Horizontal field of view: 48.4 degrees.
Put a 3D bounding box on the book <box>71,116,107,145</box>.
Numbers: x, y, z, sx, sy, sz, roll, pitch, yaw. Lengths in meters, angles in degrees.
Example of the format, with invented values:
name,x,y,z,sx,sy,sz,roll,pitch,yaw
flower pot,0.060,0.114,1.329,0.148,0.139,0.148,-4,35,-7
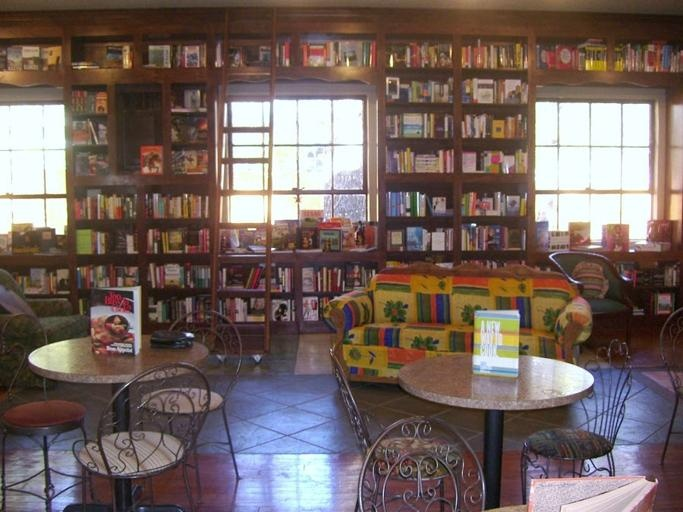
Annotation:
name,x,y,z,sx,sy,sz,roll,pitch,yaw
book,-3.056,-1.500,9.222,0.501,0.347,0.275,1,-3,-4

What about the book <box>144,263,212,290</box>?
name,x,y,z,sx,sy,sz,roll,pitch,yaw
book,-1.980,0.236,9.329,0.772,0.305,0.155,-1,4,5

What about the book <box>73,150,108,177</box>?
name,x,y,z,sx,sy,sz,roll,pitch,yaw
book,-3.054,-1.131,9.270,0.478,0.352,0.266,3,15,3

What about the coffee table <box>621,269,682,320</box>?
name,x,y,z,sx,sy,sz,roll,pitch,yaw
coffee table,3.810,0.471,9.258,0.582,0.589,0.210,-1,-3,-4

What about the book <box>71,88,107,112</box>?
name,x,y,z,sx,sy,sz,roll,pitch,yaw
book,-3.018,-1.865,9.180,0.450,0.273,0.128,0,4,12

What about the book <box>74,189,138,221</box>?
name,x,y,z,sx,sy,sz,roll,pitch,yaw
book,-2.896,-0.640,9.359,0.717,0.363,0.289,-2,4,-14

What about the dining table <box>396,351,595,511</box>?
name,x,y,z,sx,sy,sz,roll,pitch,yaw
dining table,1.049,1.211,5.604,1.106,1.272,1.143,-2,18,-5

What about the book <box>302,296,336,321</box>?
name,x,y,z,sx,sy,sz,roll,pitch,yaw
book,-0.270,0.626,8.912,0.340,0.326,0.135,2,8,1

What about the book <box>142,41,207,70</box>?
name,x,y,z,sx,sy,sz,roll,pitch,yaw
book,-1.971,-2.434,9.160,0.714,0.333,0.252,-1,4,-6

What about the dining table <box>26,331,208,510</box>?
name,x,y,z,sx,sy,sz,roll,pitch,yaw
dining table,-1.627,1.236,5.908,1.166,1.184,1.252,4,10,5

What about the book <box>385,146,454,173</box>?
name,x,y,z,sx,sy,sz,roll,pitch,yaw
book,0.969,-1.174,9.324,0.826,0.305,0.151,-1,4,-7

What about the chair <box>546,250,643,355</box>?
name,x,y,z,sx,sy,sz,roll,pitch,yaw
chair,3.057,0.509,8.983,1.007,1.423,1.117,-1,2,-7

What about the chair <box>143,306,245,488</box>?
name,x,y,z,sx,sy,sz,roll,pitch,yaw
chair,-1.293,1.145,7.837,1.120,1.994,1.335,1,3,8

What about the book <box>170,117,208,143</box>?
name,x,y,z,sx,sy,sz,roll,pitch,yaw
book,-1.847,-1.565,9.332,0.520,0.363,0.294,1,2,-2
